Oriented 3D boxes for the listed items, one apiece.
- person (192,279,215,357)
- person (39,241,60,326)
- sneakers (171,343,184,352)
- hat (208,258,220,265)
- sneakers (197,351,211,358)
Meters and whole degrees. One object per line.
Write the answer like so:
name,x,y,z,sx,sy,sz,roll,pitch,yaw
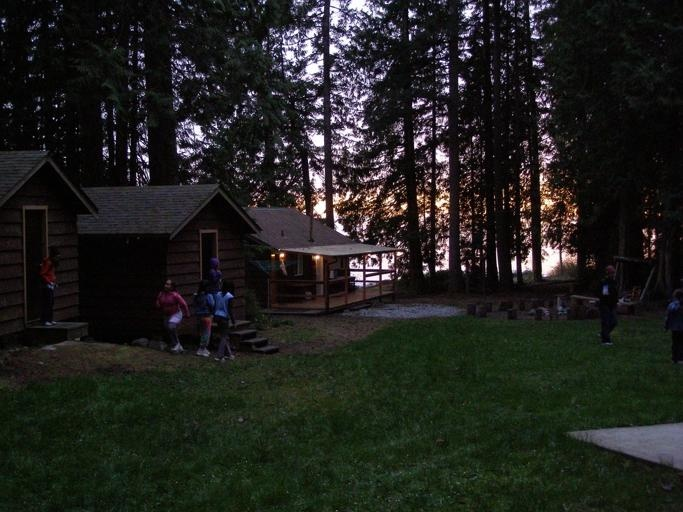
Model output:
person,-4.128,1.877,20.047,0.511,2.272,0.844,-1,5,-14
person,-8.188,0.866,18.717,0.447,2.173,0.613,-2,5,-24
sneakers,-5.010,2.812,20.351,0.191,0.256,0.358,0,-11,-1
hat,-4.141,0.179,21.577,0.179,0.241,0.238,4,9,19
sneakers,-4.181,2.959,20.140,0.315,0.151,0.171,1,3,18
